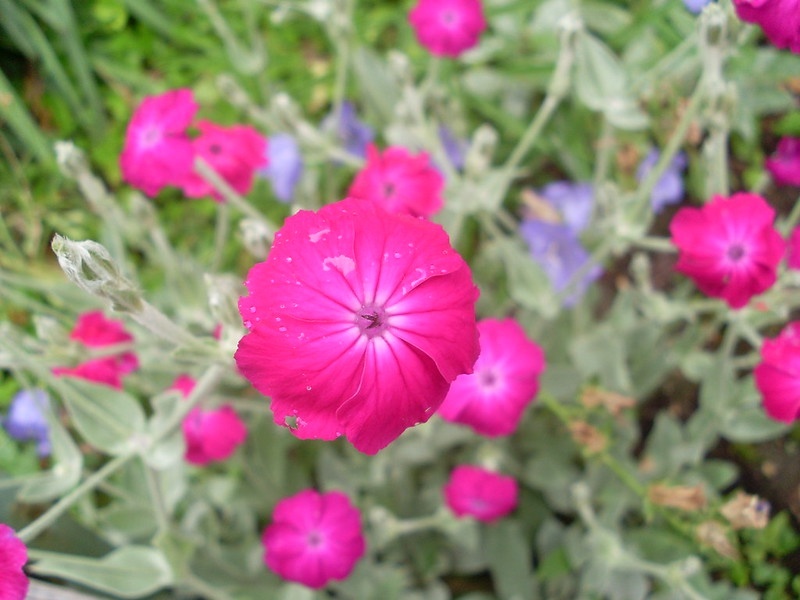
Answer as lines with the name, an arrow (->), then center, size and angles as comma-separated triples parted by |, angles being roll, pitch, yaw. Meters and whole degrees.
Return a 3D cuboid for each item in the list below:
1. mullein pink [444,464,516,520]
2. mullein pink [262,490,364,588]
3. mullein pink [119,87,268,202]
mullein pink -> 0.120, 0.290, 1.147 | 0.109, 0.129, 0.043 | 3, 103, 28
mullein pink -> -0.121, 0.342, 1.096 | 0.140, 0.090, 0.133 | 27, 84, 2
mullein pink -> -0.309, -0.246, 1.217 | 0.043, 0.180, 0.189 | -44, 44, -7
